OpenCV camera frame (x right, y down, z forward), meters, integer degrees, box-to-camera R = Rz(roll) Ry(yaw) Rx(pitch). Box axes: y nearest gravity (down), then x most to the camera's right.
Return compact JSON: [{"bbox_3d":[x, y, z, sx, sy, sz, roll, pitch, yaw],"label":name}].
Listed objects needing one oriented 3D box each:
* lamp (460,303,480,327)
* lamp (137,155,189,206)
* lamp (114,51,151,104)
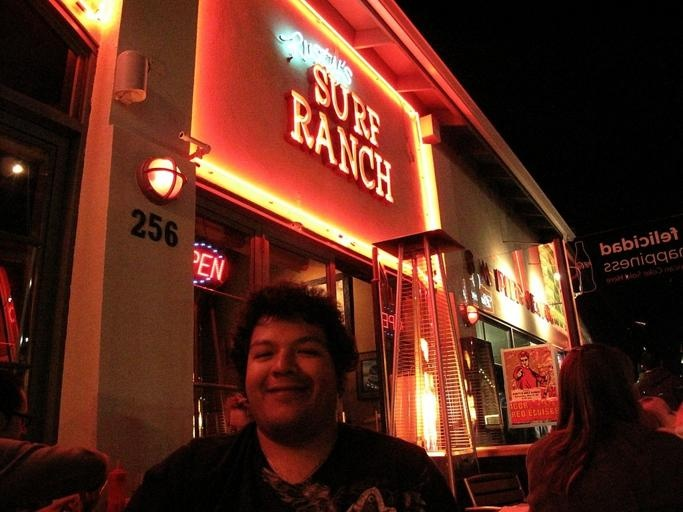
[{"bbox_3d":[1.798,0.834,6.826,0.272,0.281,0.198,3,8,11],"label":"lamp"},{"bbox_3d":[-1.319,-0.594,3.689,0.192,0.385,0.369,-15,-18,27],"label":"lamp"},{"bbox_3d":[-1.533,-1.299,3.548,0.220,0.365,0.200,1,8,0],"label":"lamp"}]
